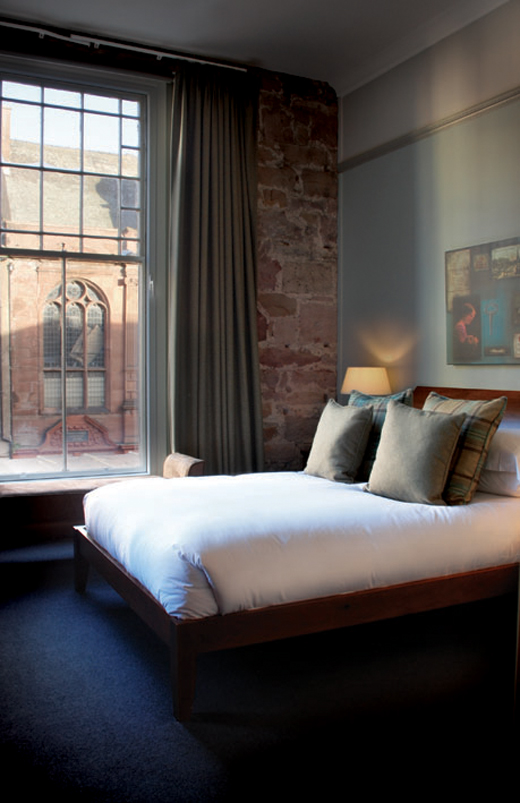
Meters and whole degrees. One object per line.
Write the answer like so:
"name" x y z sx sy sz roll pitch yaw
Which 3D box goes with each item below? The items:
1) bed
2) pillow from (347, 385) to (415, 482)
"bed" 0.191 0.490 2.481 1.468 0.800 1.102 1 -1 -23
"pillow" 0.707 0.201 3.495 0.134 0.453 0.433 20 -14 -34
